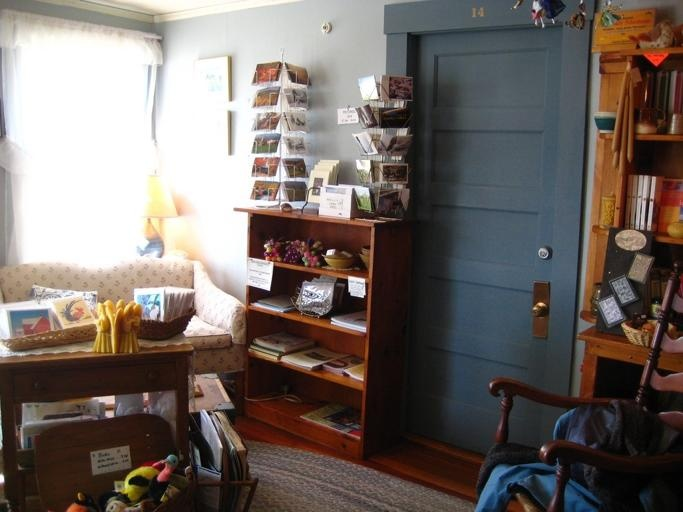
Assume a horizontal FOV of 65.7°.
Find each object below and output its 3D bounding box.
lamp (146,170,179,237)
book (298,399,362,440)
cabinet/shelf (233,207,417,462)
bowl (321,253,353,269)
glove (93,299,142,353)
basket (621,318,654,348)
[{"bbox_3d":[-1.543,-0.410,4.527,0.261,0.564,0.434,-1,12,-17],"label":"lamp"},{"bbox_3d":[0.000,1.044,3.486,0.470,0.049,0.324,9,14,31],"label":"book"},{"bbox_3d":[-0.083,0.529,3.464,0.539,1.838,1.357,-2,8,-41],"label":"cabinet/shelf"},{"bbox_3d":[-0.021,0.033,3.362,0.184,0.098,0.112,2,11,-1],"label":"bowl"},{"bbox_3d":[-0.960,0.285,2.278,0.208,0.223,0.209,5,0,-28],"label":"glove"},{"bbox_3d":[1.365,0.347,2.424,0.108,0.058,0.134,3,5,7],"label":"basket"}]
